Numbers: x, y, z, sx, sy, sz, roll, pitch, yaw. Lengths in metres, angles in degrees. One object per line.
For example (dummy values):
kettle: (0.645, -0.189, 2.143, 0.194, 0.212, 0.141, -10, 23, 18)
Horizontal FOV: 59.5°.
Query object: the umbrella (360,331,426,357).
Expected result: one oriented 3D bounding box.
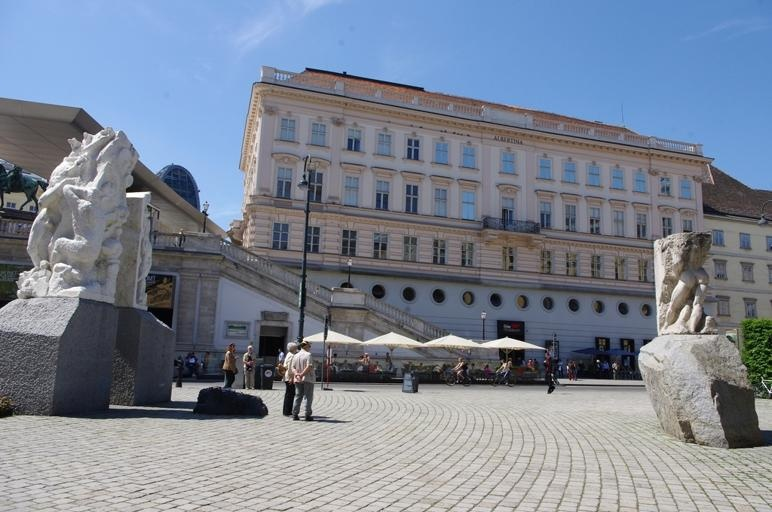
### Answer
umbrella: (0.631, 4.527, 35.364, 2.343, 0.921, 2.310, 8, -13, -27)
